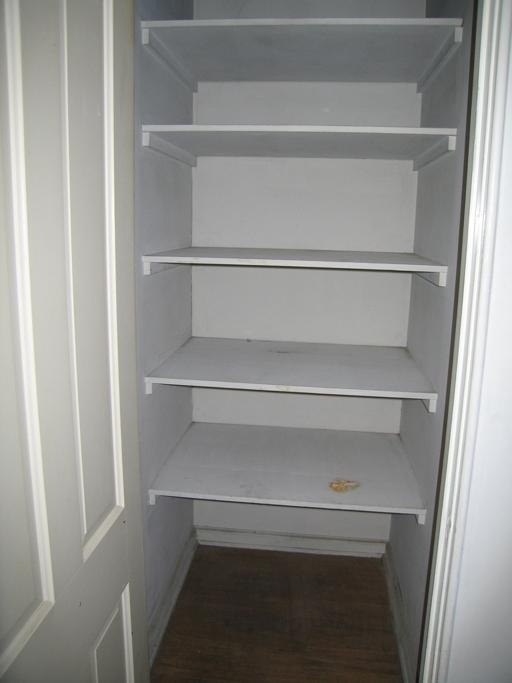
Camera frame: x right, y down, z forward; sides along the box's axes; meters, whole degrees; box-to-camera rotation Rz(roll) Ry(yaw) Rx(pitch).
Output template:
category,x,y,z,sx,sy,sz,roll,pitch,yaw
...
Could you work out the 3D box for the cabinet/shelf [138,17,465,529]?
category,x,y,z,sx,sy,sz,roll,pitch,yaw
cabinet/shelf,0.125,-0.134,1.857,0.876,0.726,1.982,3,-79,6
